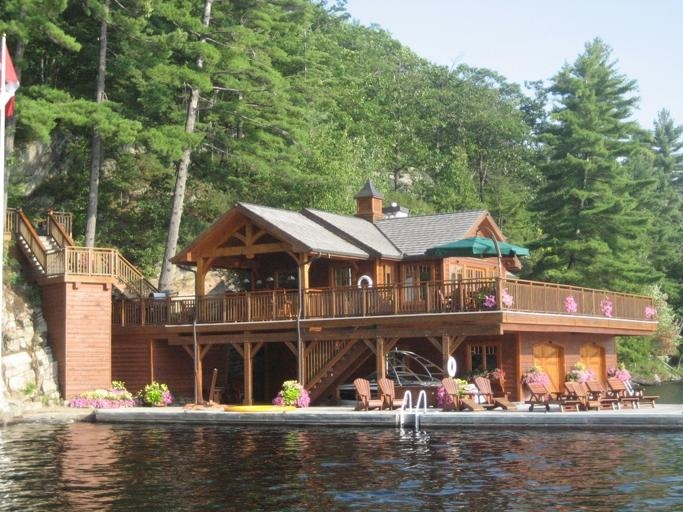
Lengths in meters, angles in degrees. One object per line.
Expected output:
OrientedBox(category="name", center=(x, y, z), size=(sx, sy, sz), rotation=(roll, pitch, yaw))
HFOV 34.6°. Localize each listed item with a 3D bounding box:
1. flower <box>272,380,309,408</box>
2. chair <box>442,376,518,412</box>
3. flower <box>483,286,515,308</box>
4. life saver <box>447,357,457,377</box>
OrientedBox(category="flower", center=(-1.891, 5.445, 43.328), size=(1.046, 0.797, 1.068), rotation=(-3, 8, -29))
OrientedBox(category="chair", center=(5.010, 5.235, 40.803), size=(1.987, 1.522, 2.001), rotation=(-4, -4, 28))
OrientedBox(category="flower", center=(5.964, 1.657, 41.730), size=(0.782, 0.617, 0.846), rotation=(-10, -8, 2))
OrientedBox(category="life saver", center=(4.209, 4.219, 42.012), size=(0.089, 0.757, 0.714), rotation=(-6, 4, 31))
